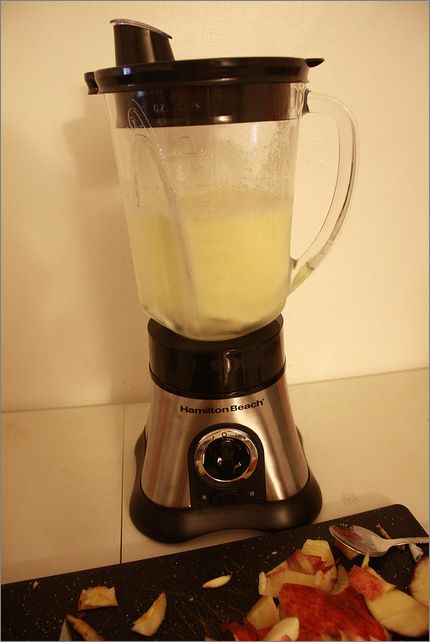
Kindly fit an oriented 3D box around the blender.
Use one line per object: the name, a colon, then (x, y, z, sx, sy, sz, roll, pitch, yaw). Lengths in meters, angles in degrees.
blender: (0.016, -0.034, 0.538, 0.244, 0.450, 0.196, -2, 18, 5)
